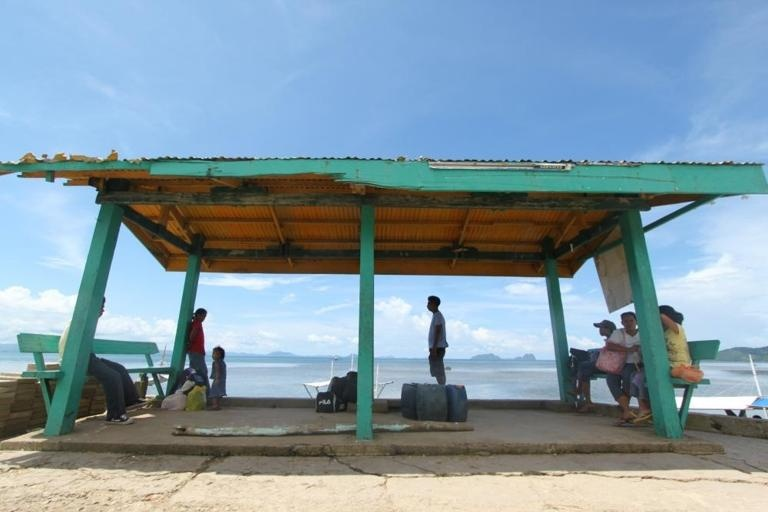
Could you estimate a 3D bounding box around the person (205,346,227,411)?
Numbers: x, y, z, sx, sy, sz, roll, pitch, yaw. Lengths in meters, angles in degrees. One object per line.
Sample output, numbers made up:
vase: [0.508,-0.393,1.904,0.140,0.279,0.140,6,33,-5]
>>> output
person: [-3.643,2.631,10.083,0.317,1.355,0.595,0,3,-20]

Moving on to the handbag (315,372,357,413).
handbag: [-0.996,2.834,9.780,0.899,0.821,0.627,0,3,-21]

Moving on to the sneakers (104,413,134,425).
sneakers: [-4.764,2.901,8.253,0.574,0.202,0.192,1,-13,4]

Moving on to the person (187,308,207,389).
person: [-4.166,2.047,10.315,0.472,1.817,0.571,0,3,-21]
